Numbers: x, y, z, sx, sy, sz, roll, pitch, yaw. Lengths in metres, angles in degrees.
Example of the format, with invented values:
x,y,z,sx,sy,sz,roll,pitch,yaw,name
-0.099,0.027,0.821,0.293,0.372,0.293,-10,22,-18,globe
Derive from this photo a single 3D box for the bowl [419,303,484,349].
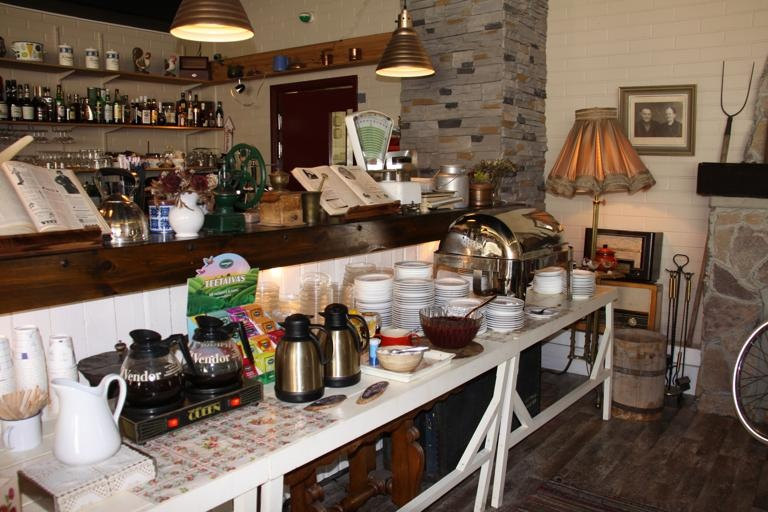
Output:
x,y,z,sx,sy,sz,roll,pitch,yaw,name
0.352,0.377,2.823,0.352,0.156,0.343,0,6,0,bowl

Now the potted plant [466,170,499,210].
x,y,z,sx,sy,sz,roll,pitch,yaw,name
0.770,-0.545,4.361,0.379,0.298,0.334,0,3,4,potted plant

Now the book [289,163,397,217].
x,y,z,sx,sy,sz,roll,pitch,yaw,name
-0.250,-0.414,3.348,0.424,0.286,0.727,6,13,25,book

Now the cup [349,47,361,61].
x,y,z,sx,sy,sz,roll,pitch,yaw,name
-0.325,-2.235,5.899,0.144,0.157,0.094,-1,15,-1,cup

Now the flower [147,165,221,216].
x,y,z,sx,sy,sz,roll,pitch,yaw,name
-0.984,-0.330,2.665,0.352,0.179,0.316,4,6,22,flower

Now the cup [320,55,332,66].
x,y,z,sx,sy,sz,roll,pitch,yaw,name
-0.659,-2.236,6.136,0.150,0.106,0.128,2,1,0,cup

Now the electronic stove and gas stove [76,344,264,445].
x,y,z,sx,sy,sz,roll,pitch,yaw,name
-0.910,0.541,2.067,0.432,0.083,0.445,8,12,35,electronic stove and gas stove

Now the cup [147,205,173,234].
x,y,z,sx,sy,sz,roll,pitch,yaw,name
-1.101,-0.181,2.623,0.168,0.132,0.148,-2,13,-23,cup

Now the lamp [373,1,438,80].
x,y,z,sx,sy,sz,roll,pitch,yaw,name
0.182,-1.690,4.162,0.404,0.496,0.437,9,17,31,lamp

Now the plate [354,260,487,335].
x,y,z,sx,sy,sz,roll,pitch,yaw,name
0.193,0.238,2.977,0.500,0.185,0.513,-1,6,-4,plate

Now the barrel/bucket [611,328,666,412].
x,y,z,sx,sy,sz,roll,pitch,yaw,name
1.955,0.933,4.464,0.681,0.569,0.627,1,3,0,barrel/bucket

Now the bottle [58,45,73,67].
x,y,z,sx,sy,sz,roll,pitch,yaw,name
-3.651,-2.289,6.087,0.137,0.265,0.225,-8,16,-26,bottle

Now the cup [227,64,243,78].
x,y,z,sx,sy,sz,roll,pitch,yaw,name
-1.928,-2.375,6.847,0.253,0.169,0.096,7,16,28,cup

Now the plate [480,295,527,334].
x,y,z,sx,sy,sz,roll,pitch,yaw,name
0.696,0.339,3.125,0.252,0.113,0.215,-1,7,-1,plate

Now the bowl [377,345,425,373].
x,y,z,sx,sy,sz,roll,pitch,yaw,name
0.072,0.468,2.435,0.181,0.052,0.122,0,1,5,bowl

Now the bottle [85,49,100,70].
x,y,z,sx,sy,sz,roll,pitch,yaw,name
-3.429,-2.307,6.231,0.143,0.237,0.175,-7,16,-24,bottle

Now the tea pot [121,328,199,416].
x,y,z,sx,sy,sz,roll,pitch,yaw,name
-0.833,0.420,1.961,0.279,0.271,0.340,-3,-4,43,tea pot

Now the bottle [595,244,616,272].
x,y,z,sx,sy,sz,roll,pitch,yaw,name
1.948,0.015,4.698,0.251,0.244,0.224,-1,-3,1,bottle

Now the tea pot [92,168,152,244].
x,y,z,sx,sy,sz,roll,pitch,yaw,name
-1.186,-0.225,2.389,0.332,0.325,0.363,-4,6,0,tea pot

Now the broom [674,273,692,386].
x,y,z,sx,sy,sz,roll,pitch,yaw,name
2.696,0.604,4.759,0.128,0.899,0.484,7,17,25,broom

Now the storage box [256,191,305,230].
x,y,z,sx,sy,sz,roll,pitch,yaw,name
-0.568,-0.260,2.920,0.259,0.195,0.226,6,13,26,storage box

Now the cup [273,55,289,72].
x,y,z,sx,sy,sz,roll,pitch,yaw,name
-1.273,-2.315,6.392,0.229,0.182,0.114,4,15,19,cup

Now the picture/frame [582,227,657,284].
x,y,z,sx,sy,sz,roll,pitch,yaw,name
2.187,-0.022,5.026,0.912,0.535,0.509,2,4,33,picture/frame
